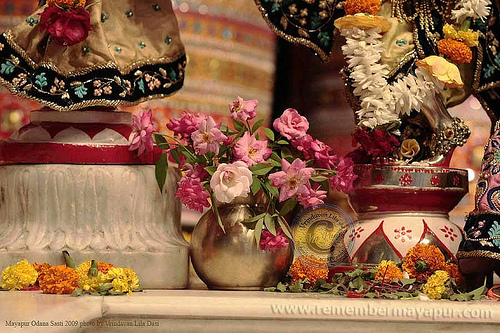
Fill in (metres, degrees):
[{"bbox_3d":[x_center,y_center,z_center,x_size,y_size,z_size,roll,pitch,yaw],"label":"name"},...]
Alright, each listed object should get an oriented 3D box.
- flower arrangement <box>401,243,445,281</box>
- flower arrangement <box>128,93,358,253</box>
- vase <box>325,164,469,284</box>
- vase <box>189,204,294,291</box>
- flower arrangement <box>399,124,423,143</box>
[{"bbox_3d":[0.484,0.251,3.045,0.111,0.062,0.101,-11,28,-35],"label":"flower arrangement"},{"bbox_3d":[-0.086,-0.005,3.110,0.535,0.287,0.409,20,34,18],"label":"flower arrangement"},{"bbox_3d":[0.442,0.176,3.177,0.385,0.301,0.374,-2,-8,33],"label":"vase"},{"bbox_3d":[-0.022,0.234,3.139,0.278,0.231,0.260,1,-7,1],"label":"vase"},{"bbox_3d":[0.473,-0.099,3.196,0.058,0.053,0.023,26,20,1],"label":"flower arrangement"}]
